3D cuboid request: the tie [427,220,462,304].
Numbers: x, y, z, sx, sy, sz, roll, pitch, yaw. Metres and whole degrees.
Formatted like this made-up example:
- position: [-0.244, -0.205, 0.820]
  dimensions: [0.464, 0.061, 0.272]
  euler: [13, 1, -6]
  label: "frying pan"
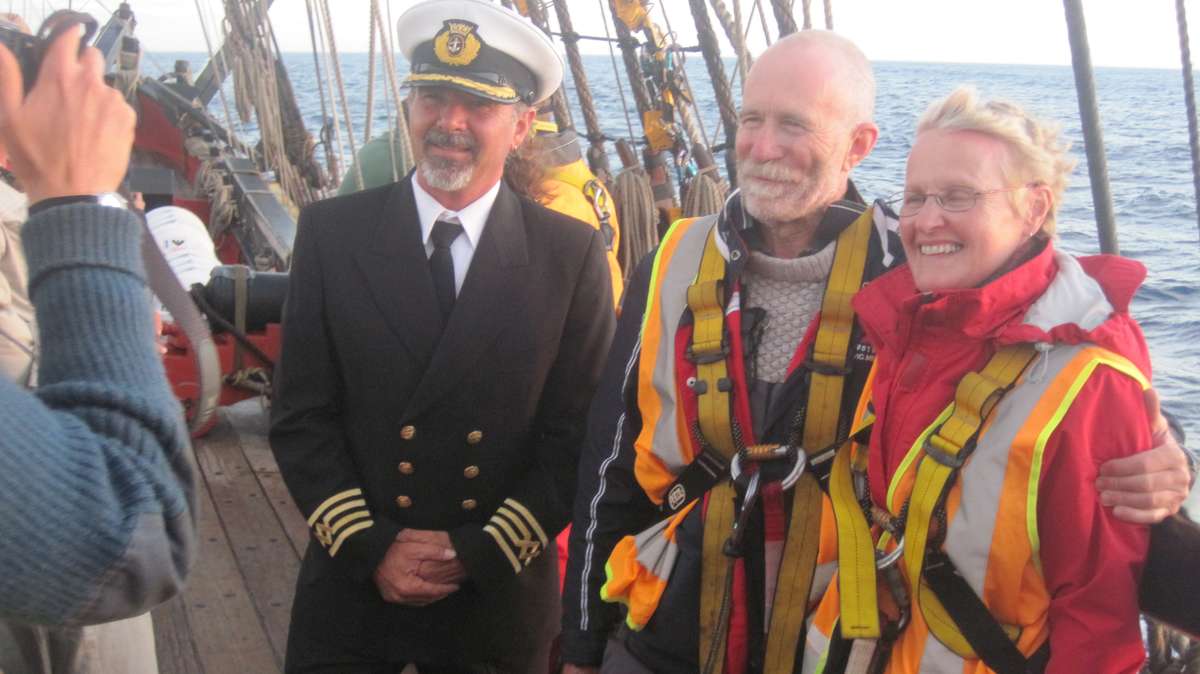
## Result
- position: [-0.540, -0.249, 3.537]
  dimensions: [0.145, 0.244, 0.062]
  euler: [7, -8, -33]
  label: "tie"
